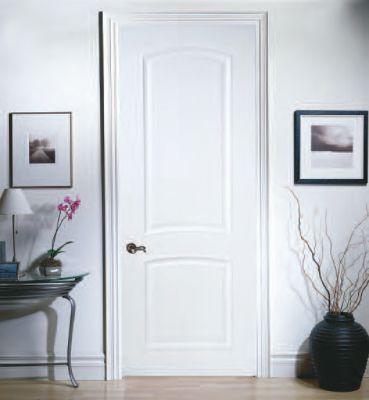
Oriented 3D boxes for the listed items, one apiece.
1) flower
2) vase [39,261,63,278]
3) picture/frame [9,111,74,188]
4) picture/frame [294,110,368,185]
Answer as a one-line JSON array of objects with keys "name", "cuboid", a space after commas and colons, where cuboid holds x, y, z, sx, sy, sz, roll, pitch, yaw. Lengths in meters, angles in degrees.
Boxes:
[{"name": "flower", "cuboid": [-0.783, 0.182, 2.985, 0.238, 0.409, 0.220, -4, 10, -19]}, {"name": "vase", "cuboid": [-0.833, 0.430, 2.848, 0.136, 0.098, 0.142, -4, 11, -18]}, {"name": "picture/frame", "cuboid": [-0.937, -0.350, 3.047, 0.427, 0.590, 0.023, 1, 0, -1]}, {"name": "picture/frame", "cuboid": [0.958, -0.352, 3.033, 0.420, 0.481, 0.030, -1, 1, -1]}]
